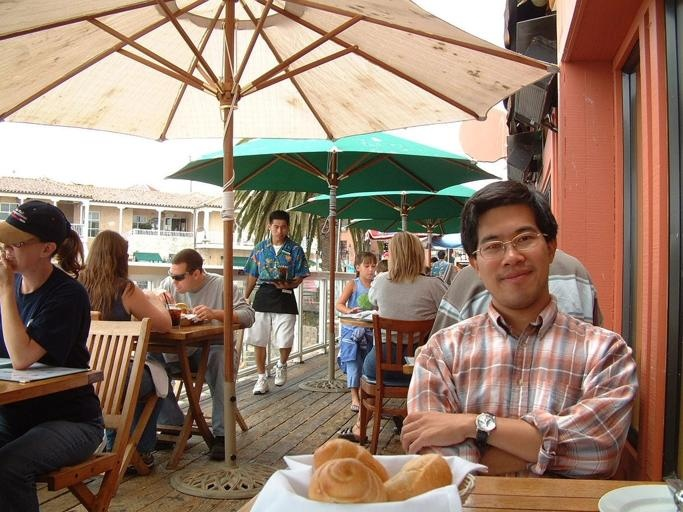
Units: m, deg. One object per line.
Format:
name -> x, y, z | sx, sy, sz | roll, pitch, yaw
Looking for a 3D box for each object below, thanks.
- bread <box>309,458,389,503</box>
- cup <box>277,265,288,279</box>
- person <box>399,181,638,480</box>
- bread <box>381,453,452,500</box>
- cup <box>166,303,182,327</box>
bread -> 0.014, 0.496, 1.114 | 0.168, 0.096, 0.064 | -1, 1, 1
cup -> -0.778, 0.222, 6.907 | 0.157, 0.233, 0.154 | -1, -4, 0
person -> 0.660, 0.253, 1.991 | 0.867, 1.111, 0.405 | -1, 1, 4
bread -> 0.185, 0.531, 1.237 | 0.082, 0.043, 0.127 | -5, 3, 44
cup -> -1.471, 0.517, 4.418 | 0.161, 0.182, 0.175 | 0, -5, 0
